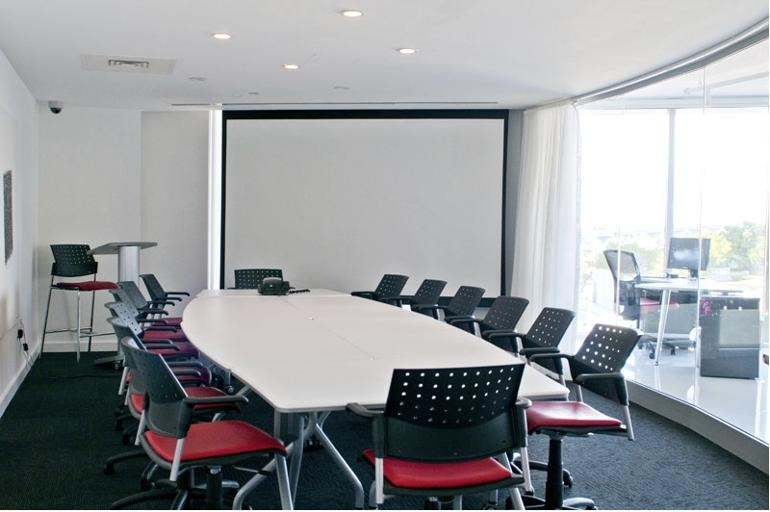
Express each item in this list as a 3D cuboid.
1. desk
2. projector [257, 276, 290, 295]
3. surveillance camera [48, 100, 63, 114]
[{"bbox_3d":[3.053,0.638,6.149,0.937,0.738,0.882,-18,3,-1],"label":"desk"},{"bbox_3d":[-1.324,0.359,6.565,0.258,0.143,0.246,1,3,-9],"label":"projector"},{"bbox_3d":[-4.514,-2.035,7.514,0.148,0.112,0.155,-1,1,-27],"label":"surveillance camera"}]
